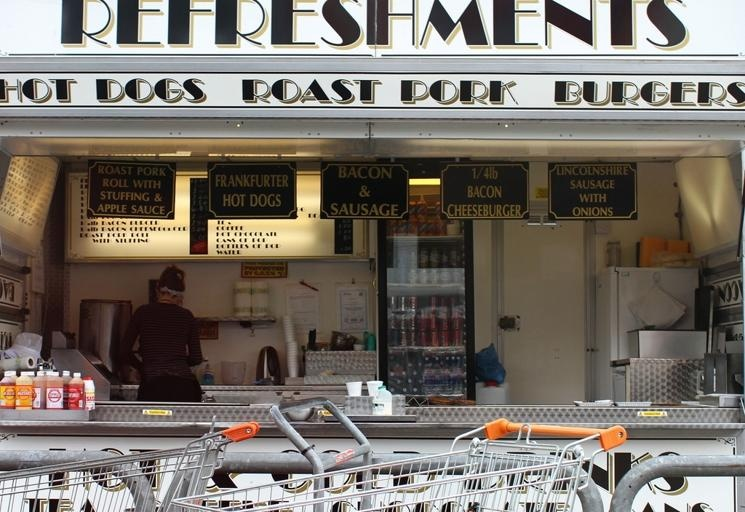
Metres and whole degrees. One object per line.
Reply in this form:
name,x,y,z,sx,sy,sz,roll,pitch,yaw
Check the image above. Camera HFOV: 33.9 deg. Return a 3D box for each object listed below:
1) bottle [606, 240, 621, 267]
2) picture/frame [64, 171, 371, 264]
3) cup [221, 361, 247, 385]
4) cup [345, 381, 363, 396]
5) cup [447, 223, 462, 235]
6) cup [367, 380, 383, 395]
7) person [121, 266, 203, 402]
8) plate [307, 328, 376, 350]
bottle,2.449,-0.020,12.385,0.164,0.254,0.086,-3,-12,8
picture/frame,-1.482,-0.405,11.621,2.898,1.005,0.117,0,29,-8
cup,-1.309,1.110,11.431,0.218,0.225,0.212,1,-6,0
cup,-0.142,0.952,8.694,0.161,0.112,0.157,0,-9,0
cup,0.765,-0.229,11.390,0.122,0.211,0.110,-4,-3,13
cup,0.018,0.932,8.610,0.126,0.091,0.122,0,-12,0
person,-1.760,0.647,10.162,0.659,1.163,0.528,1,-12,-11
plate,-0.312,0.806,11.612,0.654,0.247,0.314,0,-11,-6
